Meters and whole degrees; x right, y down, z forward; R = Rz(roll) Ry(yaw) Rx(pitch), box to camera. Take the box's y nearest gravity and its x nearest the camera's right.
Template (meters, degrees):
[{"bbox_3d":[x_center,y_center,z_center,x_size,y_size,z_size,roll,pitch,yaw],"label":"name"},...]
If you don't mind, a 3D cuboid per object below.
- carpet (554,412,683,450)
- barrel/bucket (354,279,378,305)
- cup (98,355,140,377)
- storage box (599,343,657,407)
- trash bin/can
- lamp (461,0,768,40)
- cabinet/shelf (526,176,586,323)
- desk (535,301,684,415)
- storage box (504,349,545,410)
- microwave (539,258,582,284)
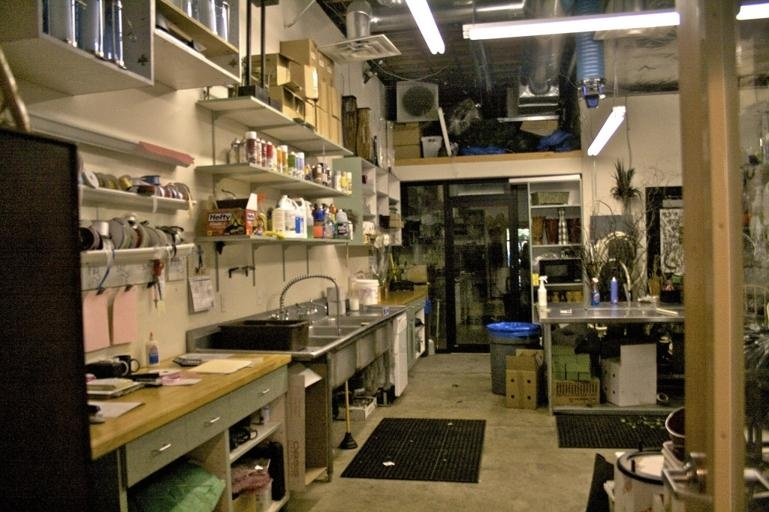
[{"bbox_3d":[1.821,1.373,5.060,0.884,0.052,0.963,-2,2,14],"label":"carpet"},{"bbox_3d":[-0.172,0.379,6.451,0.241,0.242,0.244,0,1,0],"label":"barrel/bucket"},{"bbox_3d":[-1.273,0.543,3.127,0.139,0.092,0.081,3,-6,-32],"label":"cup"},{"bbox_3d":[2.178,1.053,5.721,0.496,0.486,0.495,-1,-2,23],"label":"storage box"},{"bbox_3d":[1.415,1.060,6.375,0.658,0.650,0.650,-3,-4,23],"label":"trash bin/can"},{"bbox_3d":[1.189,-1.356,3.661,2.091,0.083,0.311,-1,-9,2],"label":"lamp"},{"bbox_3d":[2.238,-0.037,8.166,0.570,1.630,0.206,-6,17,9],"label":"cabinet/shelf"},{"bbox_3d":[1.992,0.820,5.728,1.137,0.647,1.109,-1,1,5],"label":"desk"},{"bbox_3d":[1.307,1.142,5.952,0.255,0.434,0.474,0,4,21],"label":"storage box"},{"bbox_3d":[2.243,0.202,8.086,0.610,0.365,0.304,0,-2,10],"label":"microwave"}]
